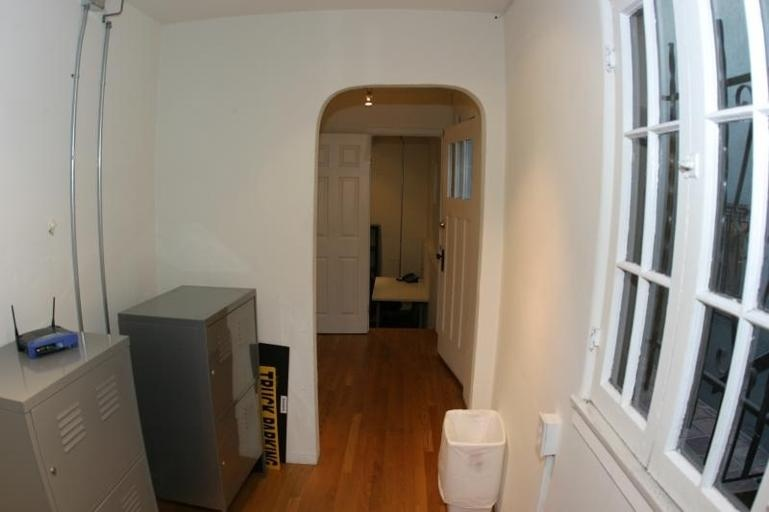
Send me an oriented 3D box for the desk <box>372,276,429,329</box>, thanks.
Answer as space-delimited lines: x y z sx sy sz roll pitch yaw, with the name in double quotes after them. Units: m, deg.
0.198 0.568 7.145 0.699 0.486 1.159 0 10 -2 "desk"
